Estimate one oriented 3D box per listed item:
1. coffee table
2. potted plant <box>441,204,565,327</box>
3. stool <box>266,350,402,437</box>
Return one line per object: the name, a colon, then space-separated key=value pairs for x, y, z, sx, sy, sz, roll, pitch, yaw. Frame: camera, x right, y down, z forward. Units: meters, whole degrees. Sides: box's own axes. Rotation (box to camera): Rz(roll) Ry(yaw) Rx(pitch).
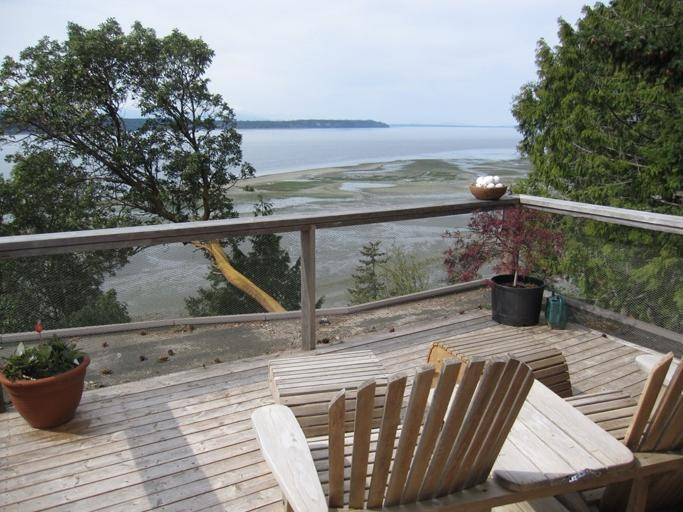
coffee table: x=0.914 y=0.878 z=1.990 sx=0.511 sy=0.156 sz=0.727 roll=-3 pitch=23 yaw=-10
potted plant: x=1.736 y=0.051 z=4.836 sx=1.215 sy=1.135 sz=0.987 roll=0 pitch=15 yaw=9
stool: x=-0.060 y=0.720 z=2.352 sx=0.705 sy=0.224 sz=0.460 roll=-2 pitch=24 yaw=-12
